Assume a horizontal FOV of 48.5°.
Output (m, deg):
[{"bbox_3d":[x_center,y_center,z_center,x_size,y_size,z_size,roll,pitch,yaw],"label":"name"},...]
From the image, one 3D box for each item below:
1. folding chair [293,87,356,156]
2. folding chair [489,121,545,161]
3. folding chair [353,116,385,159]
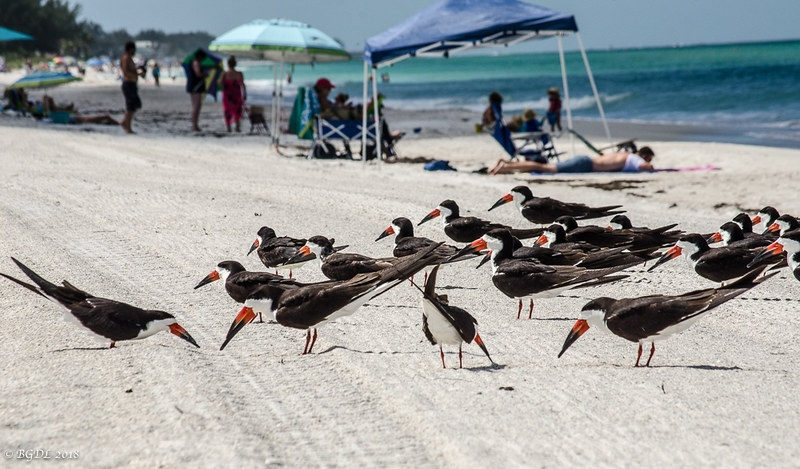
[{"bbox_3d":[-2.327,-2.978,25.015,1.479,2.197,2.427,-2,1,-44],"label":"folding chair"},{"bbox_3d":[3.197,-2.472,24.087,1.459,1.059,1.060,-4,6,-7],"label":"folding chair"},{"bbox_3d":[-0.712,-2.580,25.189,1.305,1.355,0.870,2,7,-1],"label":"folding chair"}]
